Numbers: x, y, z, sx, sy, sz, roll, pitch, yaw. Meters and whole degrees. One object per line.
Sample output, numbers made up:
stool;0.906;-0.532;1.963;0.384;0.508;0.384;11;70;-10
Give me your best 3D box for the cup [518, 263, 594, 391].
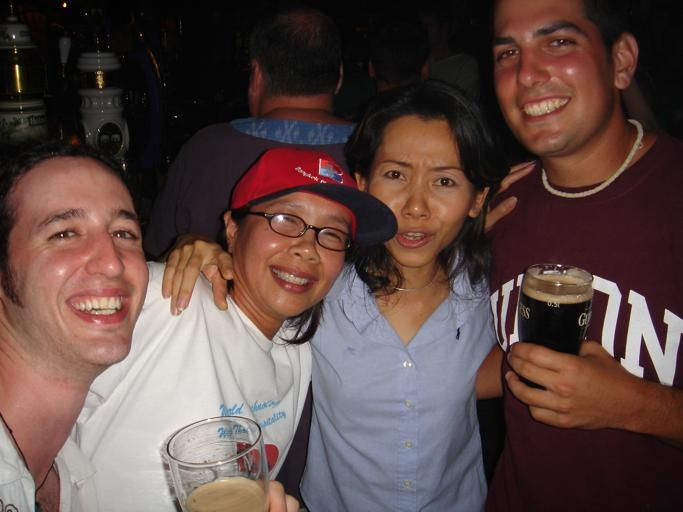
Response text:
cup;0.909;0.245;2.610;0.295;0.398;0.257;1;7;17
